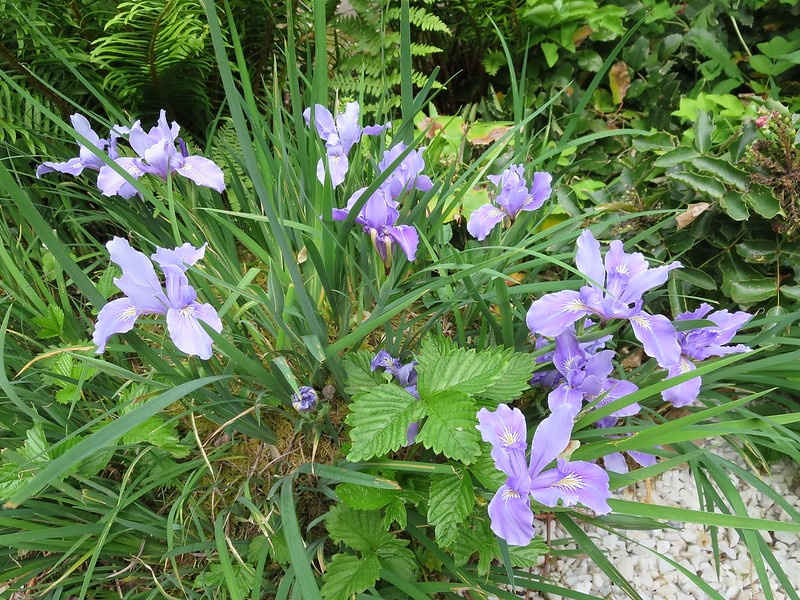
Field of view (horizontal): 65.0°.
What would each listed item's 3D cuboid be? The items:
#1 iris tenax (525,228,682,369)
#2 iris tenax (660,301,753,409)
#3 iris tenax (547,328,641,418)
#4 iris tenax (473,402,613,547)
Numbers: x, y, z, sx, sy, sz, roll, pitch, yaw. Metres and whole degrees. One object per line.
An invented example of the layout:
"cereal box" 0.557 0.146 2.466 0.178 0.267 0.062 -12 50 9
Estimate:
"iris tenax" 0.642 -0.014 1.988 0.457 0.351 0.374 13 50 4
"iris tenax" 0.977 0.150 2.144 0.272 0.390 0.330 10 15 24
"iris tenax" 0.598 0.246 2.044 0.288 0.309 0.123 0 12 -1
"iris tenax" 0.395 0.516 1.823 0.425 0.169 0.401 23 74 -16
